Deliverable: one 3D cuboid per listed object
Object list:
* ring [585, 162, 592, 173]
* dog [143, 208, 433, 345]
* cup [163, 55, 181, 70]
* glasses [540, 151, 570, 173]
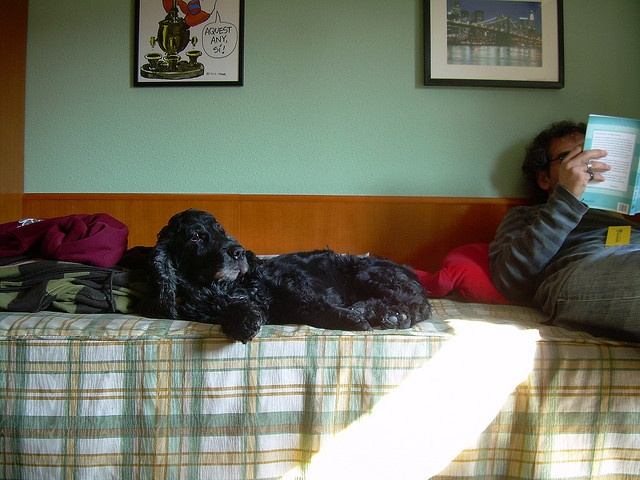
[{"bbox_3d":[1.146,-0.308,2.248,0.033,0.032,0.032,-1,5,0],"label":"ring"},{"bbox_3d":[-0.142,0.175,2.090,0.820,0.333,0.610,7,-10,-28],"label":"dog"},{"bbox_3d":[-0.839,-1.016,3.025,0.082,0.082,0.075,1,1,0],"label":"cup"},{"bbox_3d":[1.183,-0.387,2.653,0.112,0.038,0.112,-27,-3,-24],"label":"glasses"}]
